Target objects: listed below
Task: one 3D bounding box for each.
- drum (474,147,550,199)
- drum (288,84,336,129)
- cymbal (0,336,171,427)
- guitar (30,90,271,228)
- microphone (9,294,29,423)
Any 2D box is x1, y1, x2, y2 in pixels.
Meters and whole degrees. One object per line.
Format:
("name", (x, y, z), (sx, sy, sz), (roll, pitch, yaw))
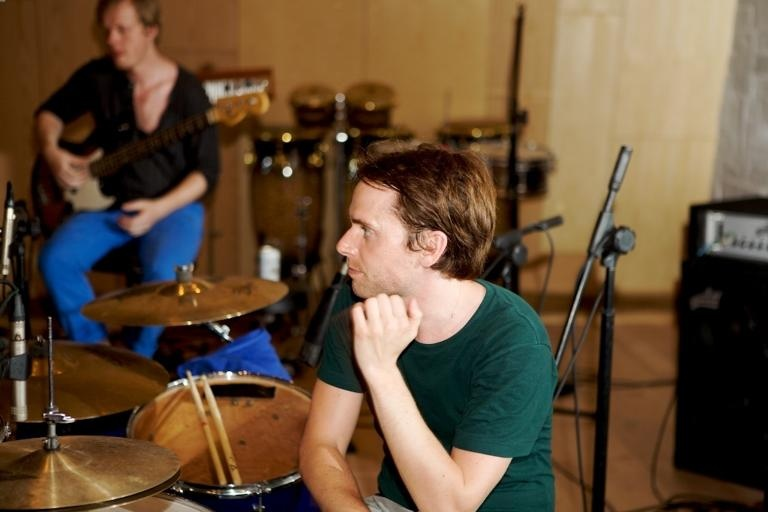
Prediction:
("drum", (0.900, -0.589, 5.630), (0.640, 0.242, 0.638), (-1, 7, 0))
("drum", (-0.491, -1.031, 5.905), (0.219, 0.147, 0.222), (0, 31, 0))
("cymbal", (-1.064, 0.461, 3.114), (0.382, 0.093, 0.386), (6, 11, 14))
("guitar", (-1.093, -0.438, 3.842), (0.963, 0.351, 0.126), (-22, 4, 6))
("microphone", (-1.199, 0.346, 2.793), (0.061, 0.425, 0.179), (-4, 12, -24))
